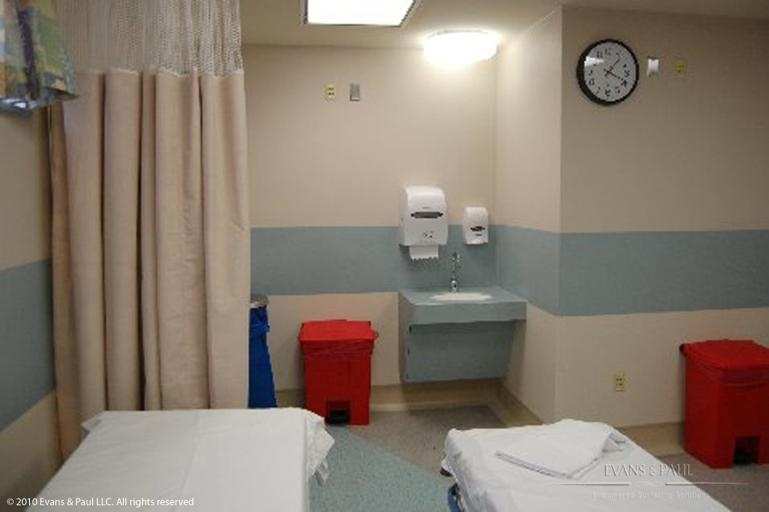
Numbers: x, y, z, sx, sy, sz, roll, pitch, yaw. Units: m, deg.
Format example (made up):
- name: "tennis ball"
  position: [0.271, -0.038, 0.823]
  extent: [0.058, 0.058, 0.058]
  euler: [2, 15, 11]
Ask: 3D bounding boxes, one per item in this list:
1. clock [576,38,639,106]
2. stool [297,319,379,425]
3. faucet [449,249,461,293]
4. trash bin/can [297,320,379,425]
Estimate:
- name: "clock"
  position: [1.532, -1.244, 4.085]
  extent: [0.388, 0.393, 0.374]
  euler: [13, 37, 41]
- name: "stool"
  position: [-0.356, 0.821, 4.771]
  extent: [0.870, 0.966, 0.669]
  euler: [0, 3, -4]
- name: "faucet"
  position: [0.564, 0.118, 4.901]
  extent: [0.093, 0.319, 0.188]
  euler: [0, 12, 14]
- name: "trash bin/can"
  position: [-0.354, 0.816, 4.774]
  extent: [0.873, 0.965, 0.668]
  euler: [0, 3, -4]
